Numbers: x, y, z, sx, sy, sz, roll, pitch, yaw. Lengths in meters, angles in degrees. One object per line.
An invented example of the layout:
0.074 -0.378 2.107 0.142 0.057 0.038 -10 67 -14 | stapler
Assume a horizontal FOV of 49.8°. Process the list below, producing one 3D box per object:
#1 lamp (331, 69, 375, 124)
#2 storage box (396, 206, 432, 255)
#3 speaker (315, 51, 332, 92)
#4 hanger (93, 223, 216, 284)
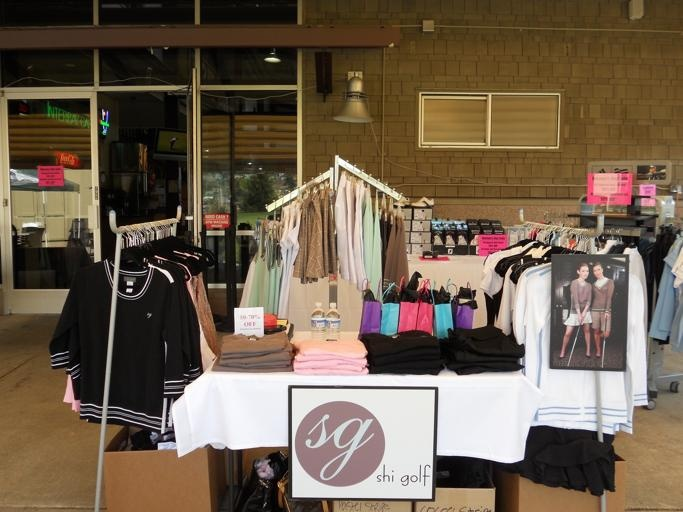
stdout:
0.149 -1.924 8.939 0.513 0.688 0.568 3 14 0 | lamp
0.800 -0.287 7.915 0.505 0.632 0.417 0 2 -5 | storage box
-0.231 -2.312 9.306 0.192 0.520 0.245 0 3 -5 | speaker
-1.372 -0.017 5.886 0.591 0.229 0.473 7 6 12 | hanger
